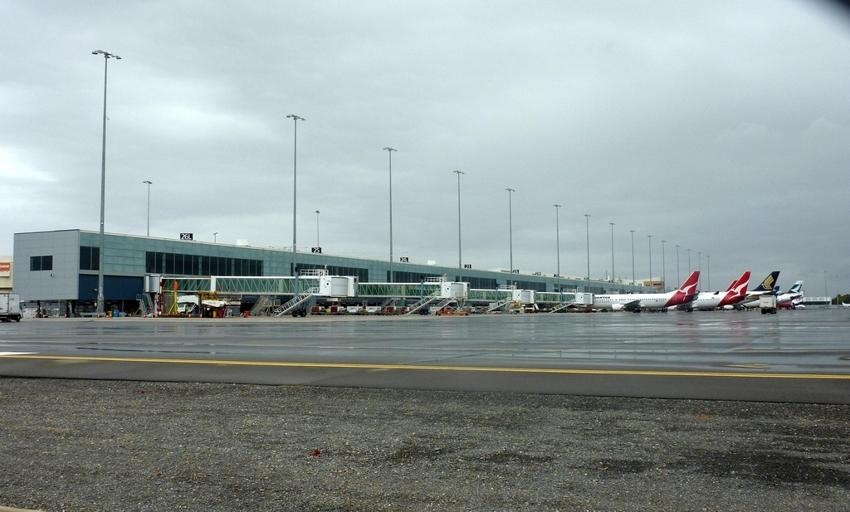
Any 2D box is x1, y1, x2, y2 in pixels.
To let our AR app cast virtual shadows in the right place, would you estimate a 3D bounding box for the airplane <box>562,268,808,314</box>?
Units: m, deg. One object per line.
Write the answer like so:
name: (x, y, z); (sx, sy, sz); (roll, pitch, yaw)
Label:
airplane: (37.693, 5.351, 121.017); (24.479, 5.588, 38.663); (-1, 0, 12)
